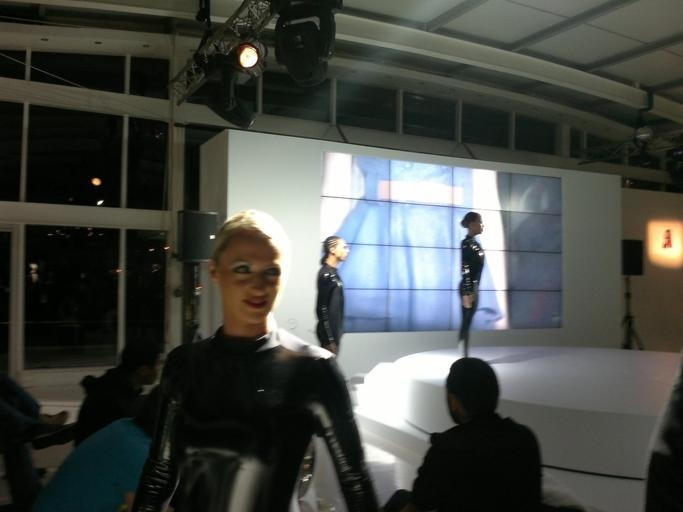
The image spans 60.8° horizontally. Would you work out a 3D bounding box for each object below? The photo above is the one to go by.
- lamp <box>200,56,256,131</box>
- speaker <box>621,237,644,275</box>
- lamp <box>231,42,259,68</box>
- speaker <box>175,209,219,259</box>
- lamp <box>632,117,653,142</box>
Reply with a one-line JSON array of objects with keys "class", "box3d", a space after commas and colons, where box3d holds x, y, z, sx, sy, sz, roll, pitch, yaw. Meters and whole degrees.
[{"class": "lamp", "box3d": [-1.257, -1.822, 6.550, 0.557, 0.674, 0.995, 4, 8, -11]}, {"class": "speaker", "box3d": [4.860, 0.058, 9.820, 0.524, 0.617, 0.281, 1, 8, -29]}, {"class": "lamp", "box3d": [-0.976, -2.022, 5.958, 0.219, 0.226, 0.158, -34, 10, 4]}, {"class": "speaker", "box3d": [-1.534, -0.215, 6.171, 0.513, 0.699, 0.357, 1, 1, -21]}, {"class": "lamp", "box3d": [4.669, -1.901, 9.084, 0.260, 0.364, 0.358, -2, 32, 11]}]
